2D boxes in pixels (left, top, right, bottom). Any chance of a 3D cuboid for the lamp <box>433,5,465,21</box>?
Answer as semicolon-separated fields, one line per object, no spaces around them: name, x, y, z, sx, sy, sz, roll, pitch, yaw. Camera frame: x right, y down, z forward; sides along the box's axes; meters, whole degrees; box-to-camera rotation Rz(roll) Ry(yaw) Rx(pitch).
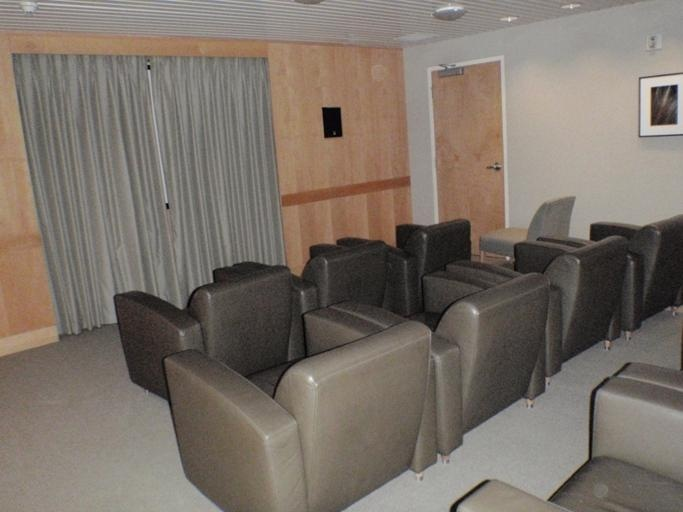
lamp;1.048;-2.383;5.073;0.301;0.134;0.399;-3;13;10

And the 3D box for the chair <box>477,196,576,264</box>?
chair;2.278;-0.370;6.391;0.784;1.123;0.977;-15;23;-36
